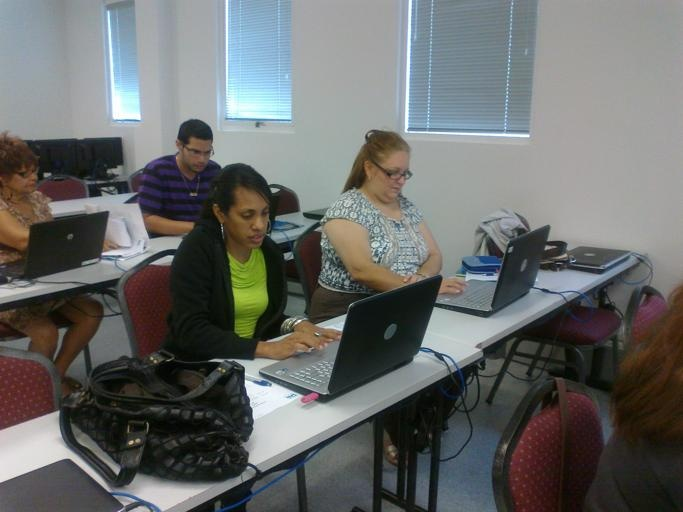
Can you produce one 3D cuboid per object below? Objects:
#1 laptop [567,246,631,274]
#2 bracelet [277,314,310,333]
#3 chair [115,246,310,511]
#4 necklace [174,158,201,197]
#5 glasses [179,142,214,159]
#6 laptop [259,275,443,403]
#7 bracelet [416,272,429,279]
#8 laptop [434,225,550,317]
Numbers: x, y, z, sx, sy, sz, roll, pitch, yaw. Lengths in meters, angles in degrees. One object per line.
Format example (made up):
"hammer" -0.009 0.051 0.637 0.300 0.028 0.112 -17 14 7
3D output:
"laptop" 1.434 0.004 2.998 0.236 0.034 0.234 -15 16 -40
"bracelet" -0.186 0.245 1.962 0.068 0.035 0.074 -20 15 29
"chair" -0.593 0.410 2.688 0.935 1.572 0.812 1 5 38
"necklace" -1.027 -0.536 3.519 0.154 0.224 0.054 6 22 -9
"glasses" -0.929 -0.715 3.476 0.131 0.091 0.253 13 21 32
"laptop" 0.037 0.209 1.666 0.492 0.342 0.418 -7 16 -41
"bracelet" 0.368 0.087 2.405 0.032 0.018 0.045 8 11 40
"laptop" 0.652 0.036 2.312 0.395 0.323 0.504 7 14 39
